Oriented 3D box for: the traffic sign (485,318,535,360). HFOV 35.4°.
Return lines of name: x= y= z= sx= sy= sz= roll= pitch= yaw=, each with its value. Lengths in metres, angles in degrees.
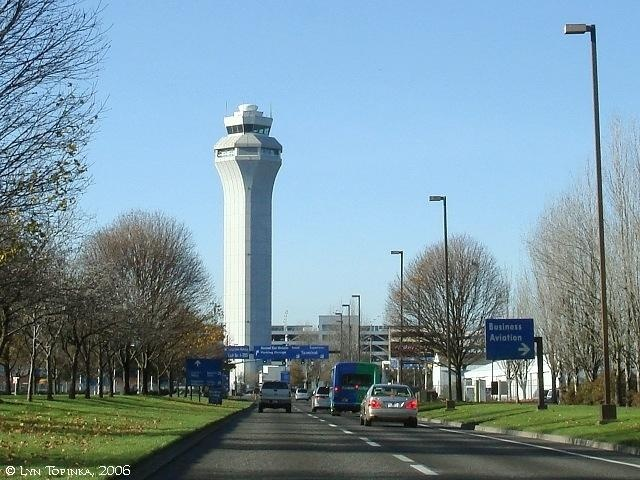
traffic sign: x=9.699 y=5.120 z=51.324 sx=2.414 sy=2.060 sz=0.642 roll=-1 pitch=-10 yaw=0
